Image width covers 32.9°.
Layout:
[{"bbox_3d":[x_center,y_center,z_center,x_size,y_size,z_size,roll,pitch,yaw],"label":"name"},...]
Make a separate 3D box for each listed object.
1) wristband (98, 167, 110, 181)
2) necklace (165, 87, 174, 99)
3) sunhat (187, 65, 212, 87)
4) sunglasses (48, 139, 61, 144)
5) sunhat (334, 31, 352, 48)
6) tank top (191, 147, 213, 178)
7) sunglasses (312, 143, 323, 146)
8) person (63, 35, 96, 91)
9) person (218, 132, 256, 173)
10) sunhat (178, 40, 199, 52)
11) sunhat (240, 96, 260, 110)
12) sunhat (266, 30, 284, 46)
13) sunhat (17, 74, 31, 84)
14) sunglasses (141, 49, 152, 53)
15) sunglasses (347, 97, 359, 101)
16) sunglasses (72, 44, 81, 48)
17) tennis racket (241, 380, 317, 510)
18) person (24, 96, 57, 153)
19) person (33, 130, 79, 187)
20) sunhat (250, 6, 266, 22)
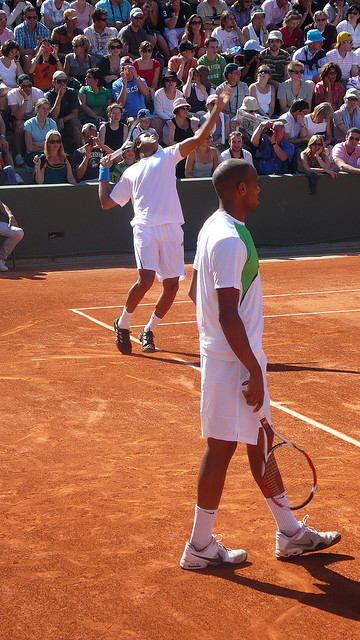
[{"bbox_3d":[-0.804,-1.573,6.581,0.093,0.138,0.205,-1,8,-11],"label":"wristband"},{"bbox_3d":[-0.232,-4.989,13.357,0.211,0.223,0.215,3,0,-9],"label":"necklace"},{"bbox_3d":[0.533,-5.698,14.044,0.359,0.264,0.482,23,-18,26],"label":"sunhat"},{"bbox_3d":[-2.397,-3.451,11.799,0.223,0.084,0.121,-3,9,-25],"label":"sunglasses"},{"bbox_3d":[4.152,-7.212,15.645,0.162,0.359,0.226,40,25,-9],"label":"sunhat"},{"bbox_3d":[0.515,-3.364,13.311,0.501,0.521,0.319,-3,9,-24],"label":"tank top"},{"bbox_3d":[3.046,-3.921,13.602,0.309,0.067,0.060,-4,9,-29],"label":"sunglasses"},{"bbox_3d":[-2.215,-5.775,13.597,0.717,0.959,0.635,-1,8,-9],"label":"person"},{"bbox_3d":[1.115,-3.341,12.305,0.638,0.861,0.487,-4,9,-14],"label":"person"},{"bbox_3d":[0.143,-6.277,13.949,0.304,0.253,0.290,1,8,1],"label":"sunhat"},{"bbox_3d":[1.543,-4.858,13.640,0.404,0.315,0.359,1,8,5],"label":"sunhat"},{"bbox_3d":[2.371,-7.103,15.219,0.365,0.284,0.534,1,-2,8],"label":"sunhat"},{"bbox_3d":[-3.173,-4.910,12.451,0.354,0.200,0.157,7,10,40],"label":"sunhat"},{"bbox_3d":[-0.735,-6.042,13.690,0.222,0.059,0.129,-3,8,-23],"label":"sunglasses"},{"bbox_3d":[3.954,-5.089,14.045,0.235,0.070,0.113,1,8,2],"label":"sunglasses"},{"bbox_3d":[-2.228,-5.996,13.343,0.192,0.061,0.061,7,10,40],"label":"sunglasses"},{"bbox_3d":[0.562,0.731,3.435,0.322,0.883,0.085,-44,25,-27],"label":"tennis racket"},{"bbox_3d":[-2.759,-3.916,12.394,0.818,1.214,0.800,5,26,-3],"label":"person"},{"bbox_3d":[-2.465,-3.207,12.349,0.865,1.031,1.202,-1,8,-10],"label":"person"},{"bbox_3d":[2.002,-8.114,16.004,0.386,0.201,0.510,-1,6,1],"label":"sunhat"}]
